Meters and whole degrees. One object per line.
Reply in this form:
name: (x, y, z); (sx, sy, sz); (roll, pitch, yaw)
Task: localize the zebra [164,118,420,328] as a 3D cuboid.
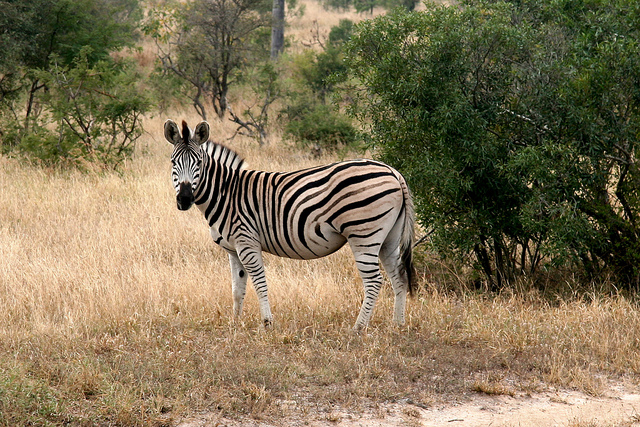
zebra: (-0.500, 0.311, 15.965); (4.910, 3.721, 1.470); (1, -5, 16)
